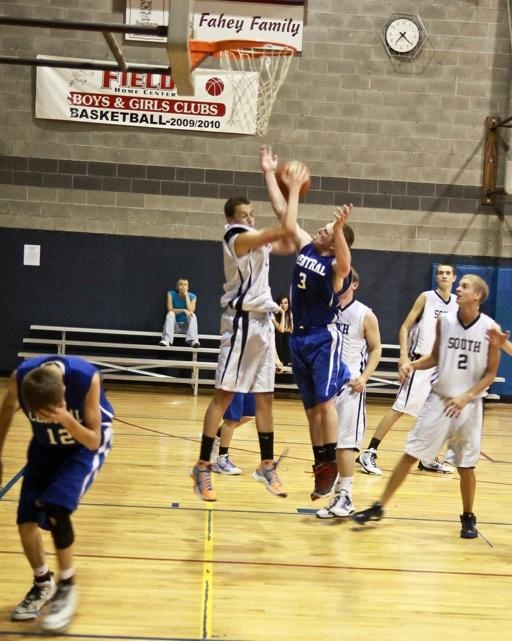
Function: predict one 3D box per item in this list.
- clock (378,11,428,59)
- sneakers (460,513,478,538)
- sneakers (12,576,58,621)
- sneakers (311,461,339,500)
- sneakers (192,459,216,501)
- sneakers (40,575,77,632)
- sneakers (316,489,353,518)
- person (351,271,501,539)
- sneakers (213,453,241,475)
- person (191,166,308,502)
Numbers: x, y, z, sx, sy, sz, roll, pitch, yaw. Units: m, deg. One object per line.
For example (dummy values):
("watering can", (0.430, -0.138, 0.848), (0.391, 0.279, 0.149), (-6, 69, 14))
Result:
("clock", (1.745, -3.363, 11.369), (0.539, 0.520, 0.125), (0, 6, -19))
("sneakers", (1.253, 1.205, 5.647), (0.077, 0.113, 0.165), (-2, -13, 8))
("sneakers", (-1.028, 1.294, 4.527), (0.090, 0.121, 0.281), (5, 11, 13))
("sneakers", (0.402, 0.941, 5.700), (0.138, 0.243, 0.101), (3, 6, 3))
("sneakers", (-0.304, 0.945, 5.598), (0.140, 0.259, 0.193), (2, 6, -5))
("sneakers", (-0.896, 1.303, 4.411), (0.096, 0.111, 0.278), (1, 32, 4))
("sneakers", (0.472, 1.087, 5.729), (0.136, 0.101, 0.224), (-8, -15, 24))
("person", (1.075, 0.495, 5.606), (0.638, 1.538, 0.469), (3, 6, 7))
("sneakers", (-0.216, 1.024, 6.862), (0.250, 0.126, 0.092), (4, -2, 44))
("person", (-0.070, 0.224, 5.679), (0.544, 1.591, 0.498), (2, 6, 0))
